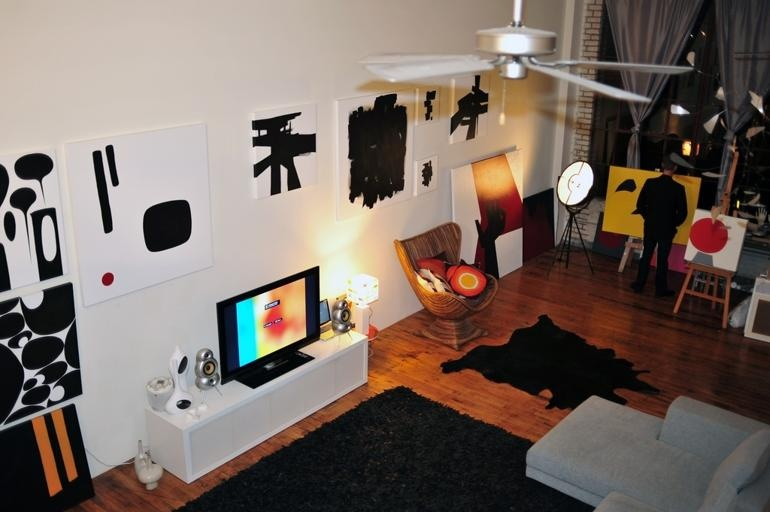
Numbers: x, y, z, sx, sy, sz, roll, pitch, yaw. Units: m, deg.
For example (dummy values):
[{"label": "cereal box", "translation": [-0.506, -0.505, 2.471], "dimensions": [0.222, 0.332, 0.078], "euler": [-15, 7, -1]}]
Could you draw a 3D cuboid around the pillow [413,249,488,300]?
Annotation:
[{"label": "pillow", "translation": [0.902, 0.306, 7.490], "dimensions": [0.612, 0.271, 0.737], "euler": [-22, 34, -36]}]

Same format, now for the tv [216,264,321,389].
[{"label": "tv", "translation": [-1.340, 0.802, 5.915], "dimensions": [0.357, 0.842, 1.212], "euler": [14, 27, 35]}]

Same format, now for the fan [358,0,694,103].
[{"label": "fan", "translation": [1.946, -2.724, 6.973], "dimensions": [2.962, 0.984, 2.750], "euler": [4, 21, 4]}]

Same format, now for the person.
[{"label": "person", "translation": [4.511, -0.440, 8.798], "dimensions": [0.712, 2.071, 0.972], "euler": [6, 26, 16]}]
